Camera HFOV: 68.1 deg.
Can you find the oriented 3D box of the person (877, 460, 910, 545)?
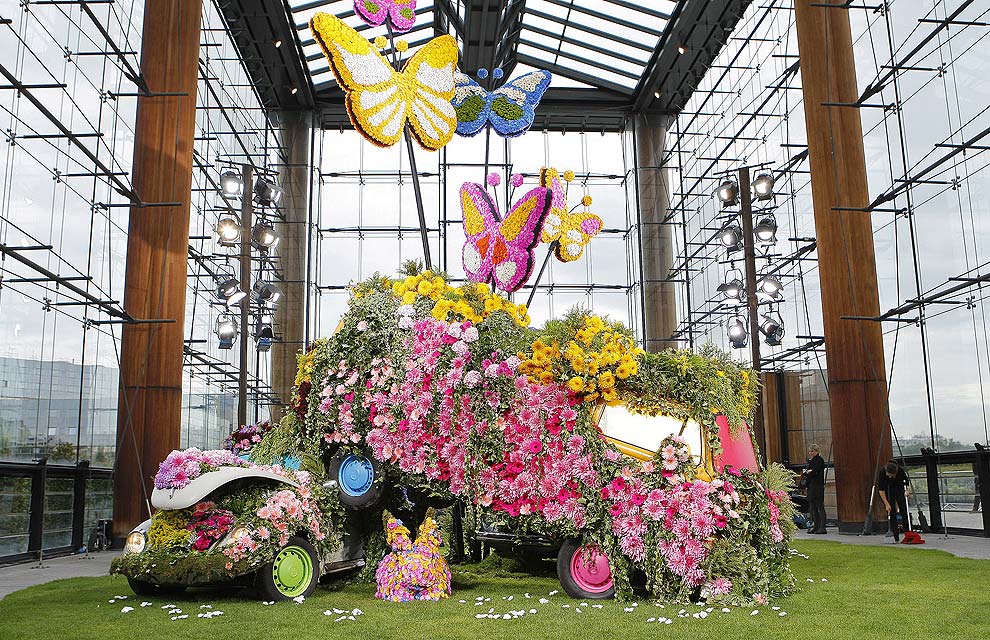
[{"bbox_3d":[7.681,3.441,14.088,0.511,1.445,1.006,-5,-9,29],"label":"person"}]

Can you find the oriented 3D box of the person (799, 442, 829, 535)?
[{"bbox_3d":[6.734,3.565,15.414,0.387,1.850,0.919,-3,-9,21],"label":"person"}]
